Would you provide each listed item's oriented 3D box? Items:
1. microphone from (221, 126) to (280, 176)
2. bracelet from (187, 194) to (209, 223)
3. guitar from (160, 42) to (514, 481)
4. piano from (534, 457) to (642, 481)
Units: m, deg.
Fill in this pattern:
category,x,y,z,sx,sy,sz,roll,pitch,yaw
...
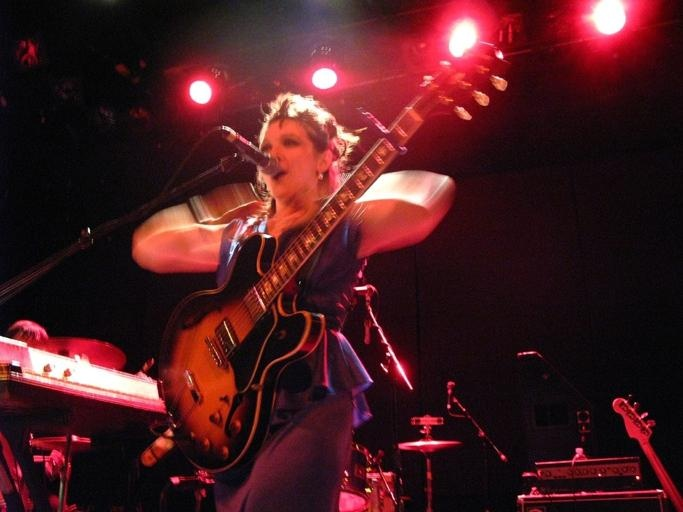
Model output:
category,x,y,z,sx,sy,sz,roll,pitch,yaw
microphone,-0.530,-0.567,3.412,0.110,0.119,0.442,2,-19,24
bracelet,-0.869,-0.289,3.906,0.094,0.197,0.028,-1,-36,-27
guitar,-0.236,0.128,3.241,1.104,3.062,0.327,42,9,34
piano,1.910,1.667,5.014,0.761,0.200,0.099,-4,-26,22
